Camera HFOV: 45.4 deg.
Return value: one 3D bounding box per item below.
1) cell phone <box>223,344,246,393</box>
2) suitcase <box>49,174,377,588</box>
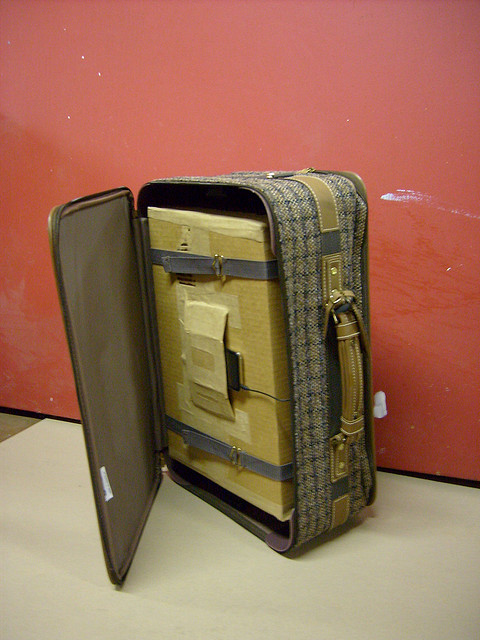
[{"bbox_3d":[-0.016,0.092,1.027,0.009,0.067,0.051,-12,-20,22],"label":"cell phone"},{"bbox_3d":[-0.024,0.080,1.029,0.502,0.643,0.538,4,19,25],"label":"suitcase"}]
